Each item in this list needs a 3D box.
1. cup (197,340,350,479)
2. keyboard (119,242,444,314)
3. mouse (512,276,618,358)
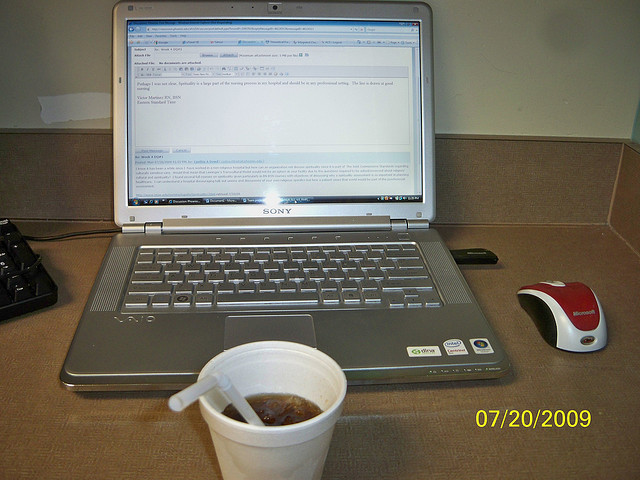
[{"bbox_3d":[-0.054,0.189,0.524,0.140,0.107,0.137,5,26,-2],"label":"cup"},{"bbox_3d":[-0.056,0.048,0.738,0.439,0.049,0.157,-3,24,-2],"label":"keyboard"},{"bbox_3d":[0.337,0.089,0.708,0.088,0.052,0.154,-3,26,-3],"label":"mouse"}]
